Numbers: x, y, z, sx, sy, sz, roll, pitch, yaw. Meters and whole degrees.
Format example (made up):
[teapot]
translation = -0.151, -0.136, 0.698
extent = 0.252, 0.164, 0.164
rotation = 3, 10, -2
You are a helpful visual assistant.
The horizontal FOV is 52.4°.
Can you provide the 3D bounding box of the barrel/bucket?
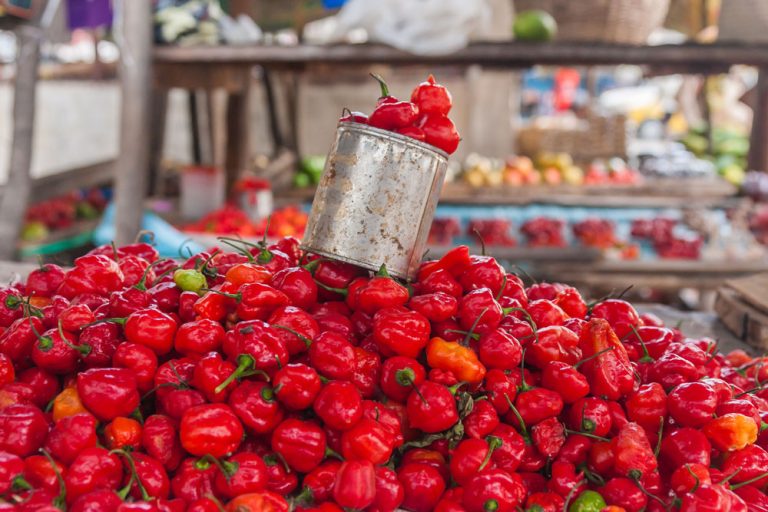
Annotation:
[barrel/bucket]
translation = -0.021, -0.241, 3.517
extent = 0.553, 0.750, 0.416
rotation = 13, 3, 17
